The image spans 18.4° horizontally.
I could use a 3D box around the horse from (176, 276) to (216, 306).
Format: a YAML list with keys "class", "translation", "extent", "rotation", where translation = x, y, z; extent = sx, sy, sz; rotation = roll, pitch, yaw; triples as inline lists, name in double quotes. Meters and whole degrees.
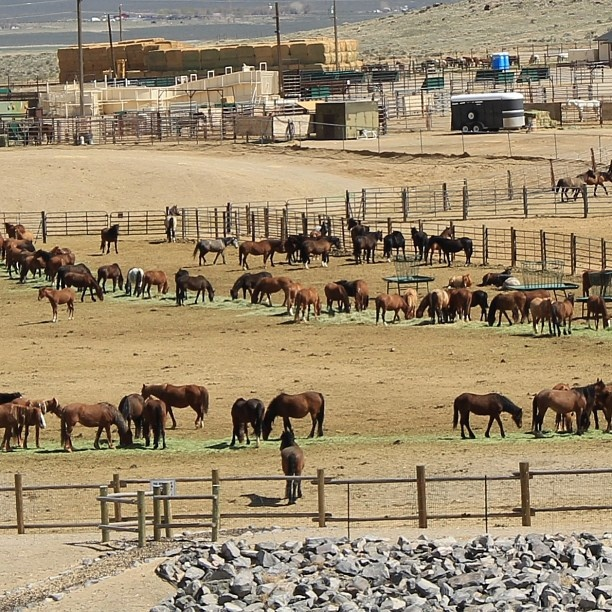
- class: "horse"
  translation: [-2.865, -0.389, 48.359]
  extent: [0.996, 0.793, 1.507]
  rotation: [-3, 6, -4]

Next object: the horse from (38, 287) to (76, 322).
- class: "horse"
  translation: [-6.231, -0.019, 47.032]
  extent: [0.817, 0.808, 1.391]
  rotation: [-4, 6, -11]

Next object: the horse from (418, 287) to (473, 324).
- class: "horse"
  translation: [3.345, 0.037, 45.411]
  extent: [1.395, 0.821, 0.899]
  rotation: [-1, 6, 21]

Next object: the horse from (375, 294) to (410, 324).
- class: "horse"
  translation: [2.090, 0.067, 45.667]
  extent: [0.827, 0.755, 1.889]
  rotation: [-3, 6, 3]

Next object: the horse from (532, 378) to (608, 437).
- class: "horse"
  translation: [4.983, 1.968, 35.921]
  extent: [1.346, 1.048, 0.847]
  rotation: [-3, 6, 2]

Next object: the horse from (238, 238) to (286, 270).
- class: "horse"
  translation: [-1.243, -1.406, 52.805]
  extent: [1.336, 0.782, 2.130]
  rotation: [-3, 6, -2]

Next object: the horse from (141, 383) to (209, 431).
- class: "horse"
  translation: [-2.618, 1.990, 37.109]
  extent: [1.360, 0.934, 0.375]
  rotation: [-3, 7, 6]

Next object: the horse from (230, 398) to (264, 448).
- class: "horse"
  translation: [-1.153, 2.207, 35.907]
  extent: [0.345, 0.872, 1.390]
  rotation: [-1, -6, -26]

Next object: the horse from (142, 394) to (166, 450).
- class: "horse"
  translation: [-3.014, 2.154, 36.543]
  extent: [0.369, 1.027, 1.555]
  rotation: [2, 4, -16]

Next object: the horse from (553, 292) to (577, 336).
- class: "horse"
  translation: [5.929, 0.265, 43.507]
  extent: [0.285, 0.931, 1.267]
  rotation: [0, 5, 30]

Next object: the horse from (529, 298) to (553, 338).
- class: "horse"
  translation: [5.454, 0.259, 43.742]
  extent: [0.522, 0.871, 1.458]
  rotation: [-2, 6, 7]

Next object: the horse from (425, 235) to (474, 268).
- class: "horse"
  translation: [3.931, -1.486, 52.134]
  extent: [1.277, 0.860, 1.651]
  rotation: [-3, 6, 4]

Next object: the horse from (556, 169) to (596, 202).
- class: "horse"
  translation: [8.759, -3.777, 61.488]
  extent: [1.315, 0.879, 2.872]
  rotation: [-2, 6, 8]

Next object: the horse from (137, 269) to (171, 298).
- class: "horse"
  translation: [-4.018, -0.542, 49.664]
  extent: [0.725, 0.685, 1.650]
  rotation: [-3, 6, -4]

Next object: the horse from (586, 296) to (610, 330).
- class: "horse"
  translation: [6.830, 0.182, 44.195]
  extent: [0.545, 0.778, 1.186]
  rotation: [-2, 6, 8]

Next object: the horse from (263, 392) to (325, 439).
- class: "horse"
  translation: [-0.176, 2.093, 35.820]
  extent: [1.112, 0.933, 1.121]
  rotation: [-17, 17, -42]

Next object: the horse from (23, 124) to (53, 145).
- class: "horse"
  translation: [-12.027, -7.521, 84.241]
  extent: [1.063, 0.887, 1.628]
  rotation: [-9, 8, -44]

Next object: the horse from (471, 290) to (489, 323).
- class: "horse"
  translation: [4.196, 0.018, 45.564]
  extent: [0.415, 0.762, 1.199]
  rotation: [-2, 6, 5]

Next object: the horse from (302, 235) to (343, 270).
- class: "horse"
  translation: [0.368, -1.452, 52.597]
  extent: [0.937, 0.812, 2.241]
  rotation: [-2, 6, 6]

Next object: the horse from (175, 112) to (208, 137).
- class: "horse"
  translation: [-5.178, -7.860, 84.284]
  extent: [1.419, 1.046, 2.487]
  rotation: [-2, 6, 6]

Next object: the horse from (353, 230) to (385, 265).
- class: "horse"
  translation: [1.709, -1.551, 52.855]
  extent: [0.826, 0.820, 1.476]
  rotation: [-3, 6, 2]

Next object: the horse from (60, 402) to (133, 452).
- class: "horse"
  translation: [-4.029, 2.297, 35.709]
  extent: [1.173, 0.978, 1.119]
  rotation: [-4, 13, -3]

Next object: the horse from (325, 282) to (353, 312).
- class: "horse"
  translation: [0.632, -0.276, 46.400]
  extent: [0.340, 0.713, 1.080]
  rotation: [-8, 15, -27]

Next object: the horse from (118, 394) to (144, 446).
- class: "horse"
  translation: [-3.346, 2.071, 36.601]
  extent: [0.382, 0.937, 1.407]
  rotation: [-4, 3, 3]

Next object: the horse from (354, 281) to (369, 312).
- class: "horse"
  translation: [1.351, -0.213, 46.680]
  extent: [0.341, 0.801, 1.136]
  rotation: [-3, 6, 1]

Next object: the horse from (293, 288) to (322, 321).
- class: "horse"
  translation: [0.005, -0.020, 46.076]
  extent: [0.673, 0.849, 1.824]
  rotation: [-3, 6, 1]
